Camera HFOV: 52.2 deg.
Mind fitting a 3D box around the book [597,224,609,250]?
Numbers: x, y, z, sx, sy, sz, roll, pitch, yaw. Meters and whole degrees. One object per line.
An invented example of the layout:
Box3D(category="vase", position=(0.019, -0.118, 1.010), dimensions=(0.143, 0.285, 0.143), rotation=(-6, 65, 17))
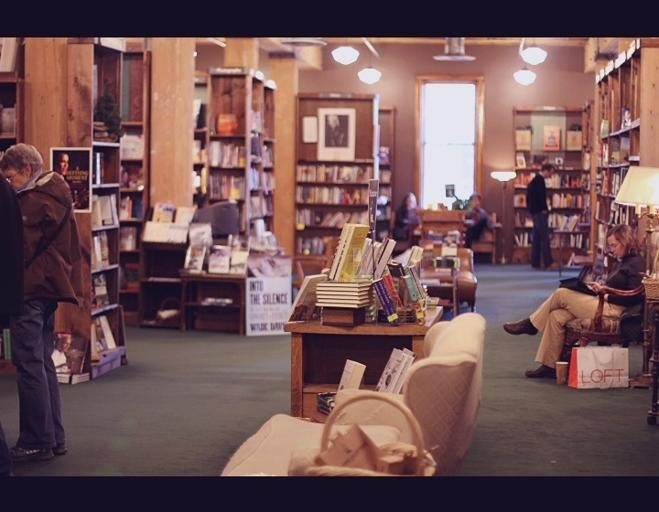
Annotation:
Box3D(category="book", position=(4.346, -0.307, 10.721), dimensions=(0.167, 0.462, 0.454), rotation=(1, 2, 14))

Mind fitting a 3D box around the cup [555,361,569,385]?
Box3D(category="cup", position=(2.142, 1.083, 6.210), dimensions=(0.154, 0.234, 0.161), rotation=(0, -5, 0))

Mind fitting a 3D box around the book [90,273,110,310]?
Box3D(category="book", position=(-2.206, 0.328, 6.502), dimensions=(0.083, 0.305, 0.268), rotation=(1, 6, 3))

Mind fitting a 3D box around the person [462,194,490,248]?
Box3D(category="person", position=(3.455, -0.761, 16.169), dimensions=(0.625, 1.538, 0.807), rotation=(9, -12, 7))

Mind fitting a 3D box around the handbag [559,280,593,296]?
Box3D(category="handbag", position=(2.347, 0.302, 6.358), dimensions=(0.161, 0.051, 0.167), rotation=(28, -18, -30))

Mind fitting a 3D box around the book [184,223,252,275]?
Box3D(category="book", position=(-1.418, -0.077, 8.302), dimensions=(0.632, 0.742, 0.168), rotation=(2, -39, 3))

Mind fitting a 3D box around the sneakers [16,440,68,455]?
Box3D(category="sneakers", position=(-1.916, 1.297, 4.490), dimensions=(0.303, 0.140, 0.116), rotation=(4, 0, -10))

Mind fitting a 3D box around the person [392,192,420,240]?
Box3D(category="person", position=(1.752, -0.885, 15.442), dimensions=(0.264, 0.969, 0.675), rotation=(5, 2, -5))

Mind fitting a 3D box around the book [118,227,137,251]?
Box3D(category="book", position=(-2.652, -0.225, 8.910), dimensions=(0.255, 0.283, 0.256), rotation=(2, -2, -17))

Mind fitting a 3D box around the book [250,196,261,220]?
Box3D(category="book", position=(-1.176, -0.754, 10.644), dimensions=(0.198, 0.393, 0.389), rotation=(-1, 0, 7))

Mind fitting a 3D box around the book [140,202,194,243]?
Box3D(category="book", position=(-2.052, -0.375, 8.573), dimensions=(0.540, 0.544, 0.136), rotation=(3, -26, 9))

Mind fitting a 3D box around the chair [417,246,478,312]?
Box3D(category="chair", position=(1.684, 0.300, 9.516), dimensions=(0.703, 0.881, 1.349), rotation=(0, -2, 11))

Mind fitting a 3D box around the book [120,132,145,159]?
Box3D(category="book", position=(-2.704, -1.501, 9.286), dimensions=(0.291, 0.343, 0.217), rotation=(0, 6, -3))

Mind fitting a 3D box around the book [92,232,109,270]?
Box3D(category="book", position=(-2.196, -0.045, 6.453), dimensions=(0.182, 0.348, 0.343), rotation=(-1, -1, 4))

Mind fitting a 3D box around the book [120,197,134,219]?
Box3D(category="book", position=(-2.745, -0.656, 9.147), dimensions=(0.163, 0.294, 0.549), rotation=(-1, 6, -17))

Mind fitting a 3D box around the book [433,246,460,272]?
Box3D(category="book", position=(1.644, 0.033, 9.465), dimensions=(0.282, 0.229, 0.442), rotation=(0, 4, 7))

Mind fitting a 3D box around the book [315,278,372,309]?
Box3D(category="book", position=(0.094, 0.257, 4.511), dimensions=(0.343, 0.185, 0.114), rotation=(0, 6, -5))

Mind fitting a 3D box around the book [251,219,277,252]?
Box3D(category="book", position=(-0.954, -0.293, 9.642), dimensions=(0.266, 0.529, 0.545), rotation=(0, 1, 4))

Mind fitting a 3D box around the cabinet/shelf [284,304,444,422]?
Box3D(category="cabinet/shelf", position=(0.182, 0.701, 4.797), dimensions=(0.770, 0.836, 0.823), rotation=(0, 3, 11))

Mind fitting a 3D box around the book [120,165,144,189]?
Box3D(category="book", position=(-2.752, -1.045, 9.392), dimensions=(0.380, 0.389, 0.107), rotation=(0, -19, 3))

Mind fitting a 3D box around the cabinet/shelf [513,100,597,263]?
Box3D(category="cabinet/shelf", position=(5.391, -1.963, 16.409), dimensions=(1.837, 3.948, 0.510), rotation=(1, -18, 15))

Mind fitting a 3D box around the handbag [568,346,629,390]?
Box3D(category="handbag", position=(2.503, 1.008, 6.107), dimensions=(0.476, 0.364, 0.185), rotation=(-10, -13, 42))

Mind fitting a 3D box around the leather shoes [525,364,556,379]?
Box3D(category="leather shoes", position=(2.012, 1.111, 6.474), dimensions=(0.312, 0.148, 0.116), rotation=(3, -1, 4))

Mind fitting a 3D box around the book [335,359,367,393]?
Box3D(category="book", position=(0.123, 0.849, 4.575), dimensions=(0.083, 0.231, 0.227), rotation=(19, -15, -21))

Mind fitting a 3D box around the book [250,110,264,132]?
Box3D(category="book", position=(-1.099, -2.059, 10.375), dimensions=(0.237, 0.450, 0.273), rotation=(0, 1, 7))

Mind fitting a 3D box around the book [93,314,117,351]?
Box3D(category="book", position=(-2.172, 0.740, 6.558), dimensions=(0.130, 0.321, 0.344), rotation=(0, 6, 1))

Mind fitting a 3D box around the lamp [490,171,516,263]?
Box3D(category="lamp", position=(4.272, -0.983, 16.612), dimensions=(0.709, 2.141, 0.731), rotation=(2, 0, -17))

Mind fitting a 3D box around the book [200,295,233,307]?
Box3D(category="book", position=(-1.388, 0.579, 8.378), dimensions=(0.431, 0.123, 0.144), rotation=(1, 6, 7))

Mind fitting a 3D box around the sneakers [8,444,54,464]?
Box3D(category="sneakers", position=(-1.963, 1.299, 4.463), dimensions=(0.255, 0.119, 0.109), rotation=(6, -2, -7))

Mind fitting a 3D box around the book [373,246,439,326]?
Box3D(category="book", position=(0.503, 0.185, 4.739), dimensions=(0.215, 0.476, 0.680), rotation=(2, 0, 3))
